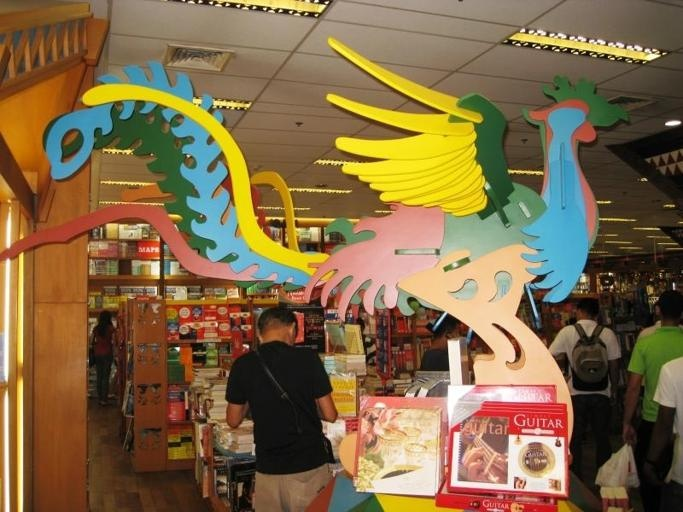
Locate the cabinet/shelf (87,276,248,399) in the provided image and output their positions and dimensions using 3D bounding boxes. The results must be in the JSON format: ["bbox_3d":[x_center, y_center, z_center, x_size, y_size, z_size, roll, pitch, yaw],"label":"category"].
[{"bbox_3d":[-2.586,1.146,8.378,2.355,2.277,1.310,1,-18,-12],"label":"cabinet/shelf"}]
